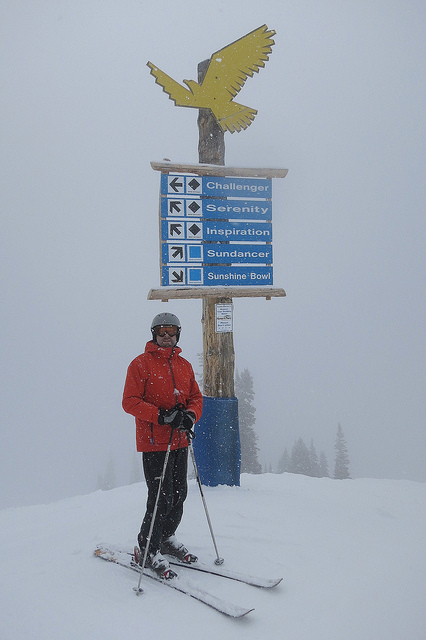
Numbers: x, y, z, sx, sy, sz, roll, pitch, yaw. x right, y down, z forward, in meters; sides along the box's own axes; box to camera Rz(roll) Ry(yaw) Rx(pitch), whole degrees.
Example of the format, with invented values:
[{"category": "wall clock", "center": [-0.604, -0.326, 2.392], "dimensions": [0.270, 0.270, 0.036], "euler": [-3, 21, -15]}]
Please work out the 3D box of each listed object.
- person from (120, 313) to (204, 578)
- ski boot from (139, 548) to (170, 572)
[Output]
[{"category": "person", "center": [-0.438, 1.047, 8.206], "dimensions": [0.787, 1.612, 0.658], "euler": [6, -3, -21]}, {"category": "ski boot", "center": [-0.493, 2.032, 8.036], "dimensions": [0.301, 0.192, 0.125], "euler": [8, -11, 28]}]
